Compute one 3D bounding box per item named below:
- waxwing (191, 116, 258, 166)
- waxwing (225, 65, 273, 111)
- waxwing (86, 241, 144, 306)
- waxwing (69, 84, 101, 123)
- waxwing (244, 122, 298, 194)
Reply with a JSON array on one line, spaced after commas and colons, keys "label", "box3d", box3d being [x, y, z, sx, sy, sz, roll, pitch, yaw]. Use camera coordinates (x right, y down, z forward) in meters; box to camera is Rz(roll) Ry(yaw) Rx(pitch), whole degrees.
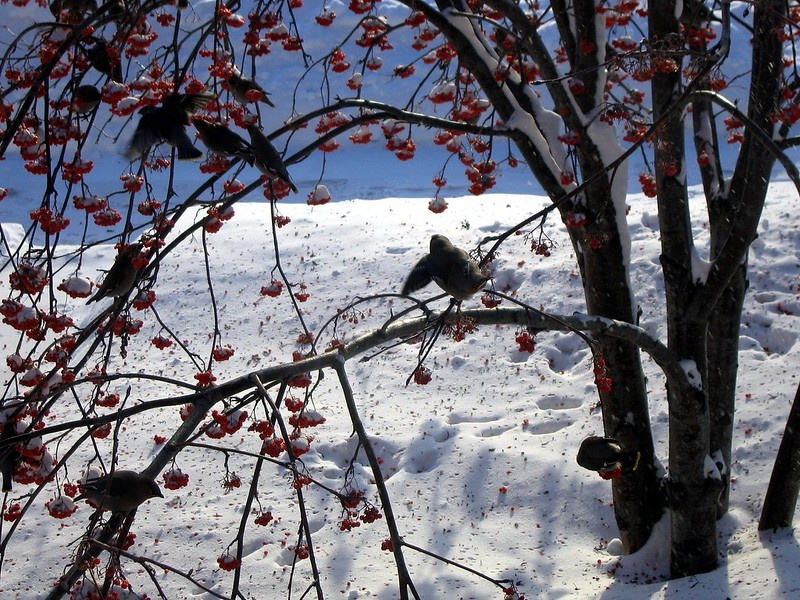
[{"label": "waxwing", "box3d": [-1.929, -1.727, 14.467, 0.937, 0.405, 0.346, 9, 16, -43]}, {"label": "waxwing", "box3d": [-1.694, -2.329, 14.663, 0.494, 0.534, 0.583, 4, -20, -9]}, {"label": "waxwing", "box3d": [-3.187, -0.333, 14.738, 0.729, 0.366, 0.769, -9, -49, -25]}, {"label": "waxwing", "box3d": [-3.409, -2.138, 14.367, 0.314, 0.426, 0.290, 6, -20, -14]}, {"label": "waxwing", "box3d": [-1.379, -1.588, 14.291, 0.592, 0.711, 0.313, 17, -25, -38]}]
